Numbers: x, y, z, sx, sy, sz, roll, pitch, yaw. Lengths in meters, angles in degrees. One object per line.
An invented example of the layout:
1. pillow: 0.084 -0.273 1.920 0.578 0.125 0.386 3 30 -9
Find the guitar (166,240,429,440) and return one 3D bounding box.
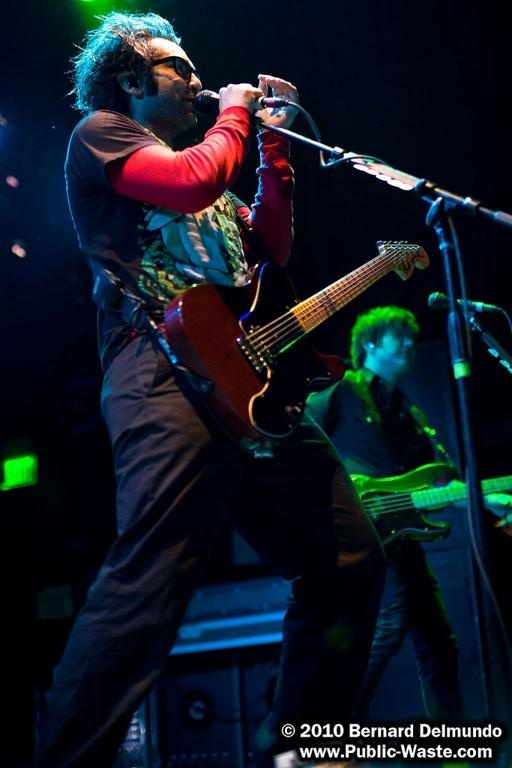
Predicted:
1. guitar: 0.170 -0.139 2.014 0.406 0.094 0.954 -36 1 -40
